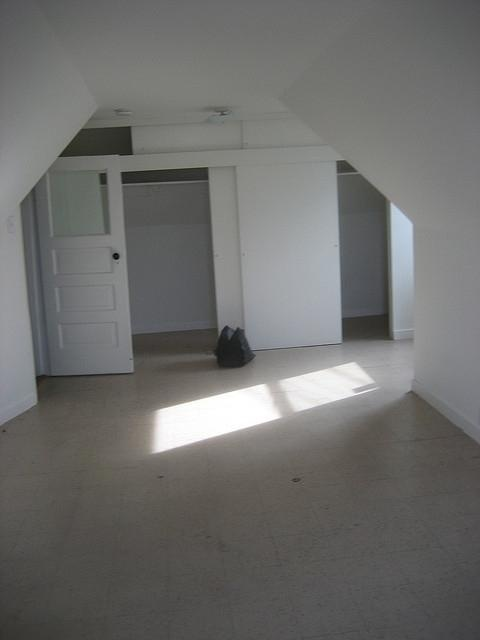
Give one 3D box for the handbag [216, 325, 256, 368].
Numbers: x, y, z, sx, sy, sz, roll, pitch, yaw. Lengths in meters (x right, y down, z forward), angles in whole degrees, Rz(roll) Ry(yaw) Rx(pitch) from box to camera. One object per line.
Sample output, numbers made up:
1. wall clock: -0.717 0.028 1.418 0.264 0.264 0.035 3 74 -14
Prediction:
1. handbag: -0.034 0.232 4.401 0.336 0.384 0.307 -4 -8 -15
